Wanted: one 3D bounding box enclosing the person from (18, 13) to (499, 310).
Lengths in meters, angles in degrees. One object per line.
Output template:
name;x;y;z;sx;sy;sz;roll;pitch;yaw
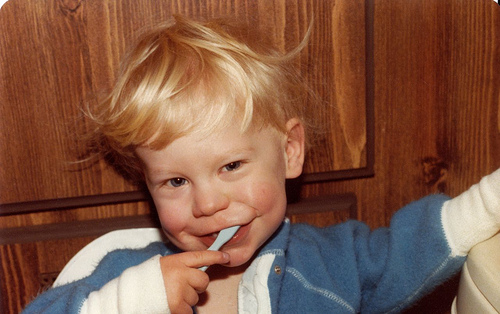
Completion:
person;-0.004;0.025;1.514;1.315;0.980;0.416;-9;-4;13
